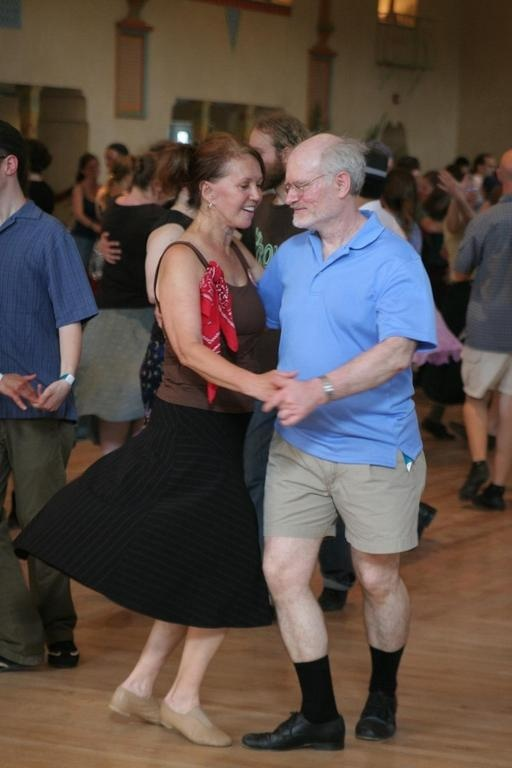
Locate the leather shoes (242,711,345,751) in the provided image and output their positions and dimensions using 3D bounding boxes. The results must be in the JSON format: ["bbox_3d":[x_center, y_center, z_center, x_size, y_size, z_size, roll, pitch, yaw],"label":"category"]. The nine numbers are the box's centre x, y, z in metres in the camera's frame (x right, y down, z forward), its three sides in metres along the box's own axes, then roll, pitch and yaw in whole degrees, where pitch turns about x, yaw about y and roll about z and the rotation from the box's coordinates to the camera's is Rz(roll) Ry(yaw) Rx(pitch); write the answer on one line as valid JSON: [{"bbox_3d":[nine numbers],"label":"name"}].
[{"bbox_3d":[0.094,0.778,1.676,0.268,0.096,0.090,1,-12,5],"label":"leather shoes"}]

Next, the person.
[{"bbox_3d":[-0.052,0.122,1.659,0.877,1.125,0.459,2,-1,12],"label":"person"}]

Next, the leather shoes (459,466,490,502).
[{"bbox_3d":[1.251,0.577,4.154,0.071,0.185,0.142,29,20,5],"label":"leather shoes"}]

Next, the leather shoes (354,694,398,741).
[{"bbox_3d":[0.280,0.789,1.714,0.057,0.064,0.158,-3,-10,15],"label":"leather shoes"}]

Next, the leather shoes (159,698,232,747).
[{"bbox_3d":[-0.157,0.781,1.726,0.196,0.071,0.068,14,10,17],"label":"leather shoes"}]
